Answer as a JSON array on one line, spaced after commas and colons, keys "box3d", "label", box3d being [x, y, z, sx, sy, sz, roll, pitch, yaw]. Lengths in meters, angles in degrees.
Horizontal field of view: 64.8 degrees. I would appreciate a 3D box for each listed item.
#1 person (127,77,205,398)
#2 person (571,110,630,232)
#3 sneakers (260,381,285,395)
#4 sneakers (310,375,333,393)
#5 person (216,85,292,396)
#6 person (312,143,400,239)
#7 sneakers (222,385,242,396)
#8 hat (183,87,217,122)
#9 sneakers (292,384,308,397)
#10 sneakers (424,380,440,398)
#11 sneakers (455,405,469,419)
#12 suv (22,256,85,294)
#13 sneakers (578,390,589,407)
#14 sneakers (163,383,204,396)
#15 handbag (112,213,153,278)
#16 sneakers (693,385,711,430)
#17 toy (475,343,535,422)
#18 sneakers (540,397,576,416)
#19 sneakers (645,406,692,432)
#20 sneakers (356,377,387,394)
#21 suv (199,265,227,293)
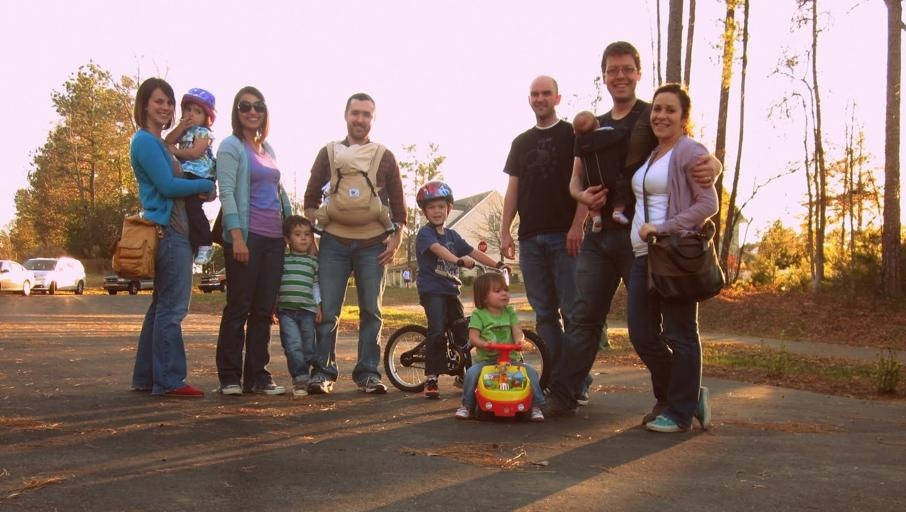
[{"box3d": [-3.622, -0.264, 9.204, 0.800, 3.999, 0.984, -3, 10, -23], "label": "person"}, {"box3d": [1.799, -1.020, 8.630, 0.738, 1.422, 0.472, 5, 10, 22], "label": "person"}, {"box3d": [-2.401, 1.783, 9.529, 0.356, 0.136, 0.134, -4, -7, 16], "label": "sneakers"}, {"box3d": [-1.729, 1.743, 9.688, 0.170, 0.135, 0.378, 14, 4, 20], "label": "sneakers"}, {"box3d": [-2.633, -0.154, 9.451, 1.028, 4.111, 0.914, -3, 10, -26], "label": "person"}, {"box3d": [-1.363, -0.906, 9.867, 1.129, 1.265, 0.792, -1, 8, -23], "label": "person"}, {"box3d": [-2.824, 1.758, 9.264, 0.264, 0.100, 0.113, -3, -5, 23], "label": "sneakers"}, {"box3d": [-3.294, -2.036, 9.395, 0.609, 0.270, 0.429, 2, -19, -10], "label": "hat"}, {"box3d": [-1.985, 1.779, 9.441, 0.187, 0.123, 0.251, -1, 8, -14], "label": "sneakers"}, {"box3d": [-0.257, 1.766, 9.550, 0.202, 0.252, 0.284, 1, 8, -3], "label": "sneakers"}, {"box3d": [0.133, 1.882, 8.595, 0.191, 0.122, 0.191, 1, 8, 1], "label": "sneakers"}, {"box3d": [-21.547, 1.025, 38.468, 1.855, 1.600, 3.943, -3, -9, 7], "label": "suv"}, {"box3d": [1.725, 1.849, 9.359, 0.108, 0.137, 0.315, 1, -1, 14], "label": "sneakers"}, {"box3d": [-3.409, 1.692, 9.103, 0.434, 0.147, 0.184, -1, -6, -7], "label": "sneakers"}, {"box3d": [-4.073, -0.099, 9.148, 0.576, 0.809, 0.337, 4, 9, 16], "label": "handbag"}, {"box3d": [2.886, 1.724, 8.179, 0.230, 0.521, 0.181, -4, 5, 5], "label": "sneakers"}, {"box3d": [0.641, 1.463, 8.520, 0.650, 0.786, 0.347, 2, 9, 5], "label": "toy"}, {"box3d": [1.319, 1.850, 8.774, 0.486, 0.205, 0.160, -3, 1, -7], "label": "sneakers"}, {"box3d": [2.463, 1.872, 8.156, 0.475, 0.190, 0.240, 2, -9, 2], "label": "sneakers"}, {"box3d": [-1.066, 1.775, 9.728, 0.189, 0.147, 0.378, 6, -12, -39], "label": "sneakers"}, {"box3d": [-13.676, 1.407, 40.986, 1.369, 1.124, 2.765, -2, -9, 6], "label": "suv"}]
